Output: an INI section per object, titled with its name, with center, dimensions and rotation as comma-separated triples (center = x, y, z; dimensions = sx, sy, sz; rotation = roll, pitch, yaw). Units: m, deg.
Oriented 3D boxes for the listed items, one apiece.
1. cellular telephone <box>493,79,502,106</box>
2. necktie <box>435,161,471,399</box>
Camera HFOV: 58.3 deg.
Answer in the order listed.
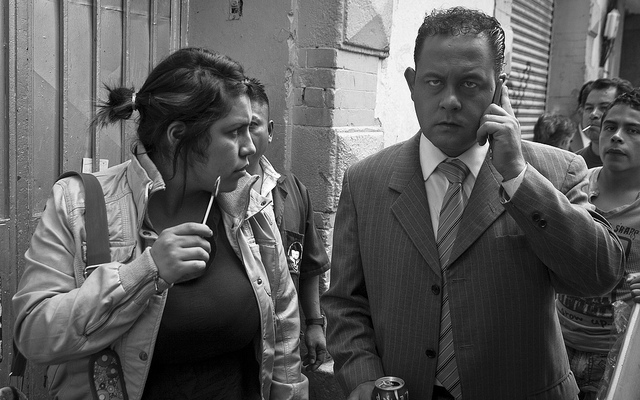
[cellular telephone]
center = 0.987, -0.592, 3.184
dimensions = 0.057, 0.140, 0.021
rotation = -1, 2, -26
[necktie]
center = 0.735, 0.434, 3.195
dimensions = 0.176, 1.288, 0.186
rotation = 1, 2, 14
